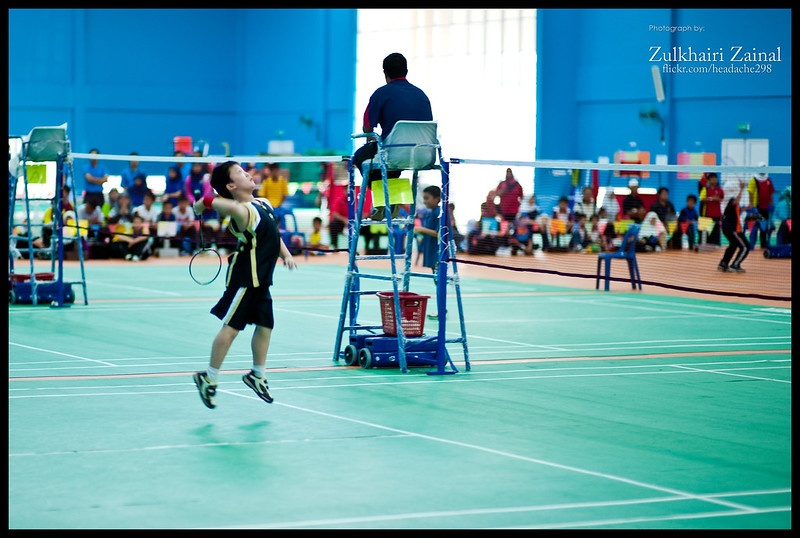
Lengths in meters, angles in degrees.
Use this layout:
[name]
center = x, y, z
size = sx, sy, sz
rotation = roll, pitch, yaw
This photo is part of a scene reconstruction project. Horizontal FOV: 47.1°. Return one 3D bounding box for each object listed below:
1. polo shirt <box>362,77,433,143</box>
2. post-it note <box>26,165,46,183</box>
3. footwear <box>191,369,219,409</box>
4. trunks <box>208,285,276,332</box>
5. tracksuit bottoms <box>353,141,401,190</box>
[polo shirt]
center = -0.011, -1.803, 10.275
size = 0.778, 0.694, 0.592
rotation = 0, 4, -6
[post-it note]
center = -5.819, -1.555, 14.752
size = 0.310, 0.278, 0.290
rotation = 2, 45, -8
[footwear]
center = -1.713, 1.068, 8.248
size = 0.193, 0.398, 0.139
rotation = -19, 5, 18
[trunks]
center = -1.505, 0.334, 8.381
size = 0.248, 0.408, 0.460
rotation = 22, -5, 19
[tracksuit bottoms]
center = -0.233, -1.177, 10.388
size = 0.467, 0.533, 0.517
rotation = 0, 6, -3
